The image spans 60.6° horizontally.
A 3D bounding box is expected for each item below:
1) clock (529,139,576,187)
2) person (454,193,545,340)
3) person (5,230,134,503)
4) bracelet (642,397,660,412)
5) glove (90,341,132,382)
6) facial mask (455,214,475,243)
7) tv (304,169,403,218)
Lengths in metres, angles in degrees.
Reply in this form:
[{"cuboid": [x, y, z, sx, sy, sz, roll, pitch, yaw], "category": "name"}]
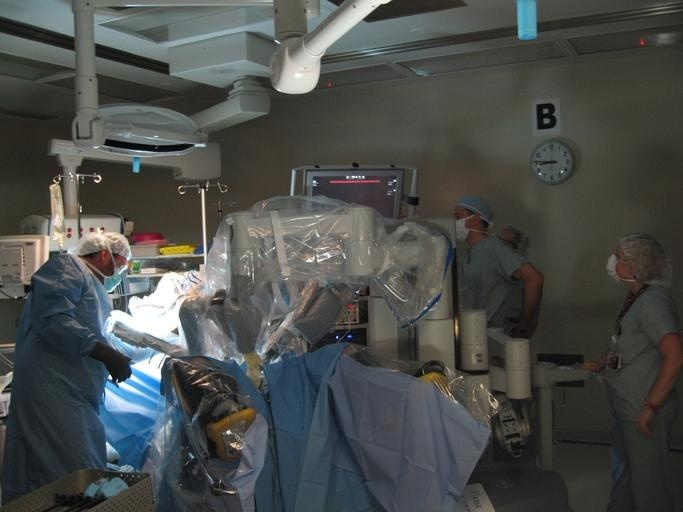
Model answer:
[{"cuboid": [1.480, -0.654, 4.075, 0.321, 0.355, 0.046, 2, 4, 32], "category": "clock"}, {"cuboid": [0.952, 0.059, 3.595, 0.584, 0.861, 0.365, 3, 5, 31], "category": "person"}, {"cuboid": [-1.294, 0.509, 2.750, 0.561, 1.239, 0.580, -1, 4, -21], "category": "person"}, {"cuboid": [1.393, 0.672, 2.641, 0.058, 0.040, 0.072, -32, -19, 14], "category": "bracelet"}, {"cuboid": [-0.995, 0.456, 2.618, 0.086, 0.194, 0.140, -45, 16, -13], "category": "glove"}, {"cuboid": [0.754, -0.165, 3.664, 0.153, 0.119, 0.132, -5, 7, 11], "category": "facial mask"}, {"cuboid": [0.108, -0.412, 3.543, 0.516, 0.365, 0.108, -1, 20, -6], "category": "tv"}]
